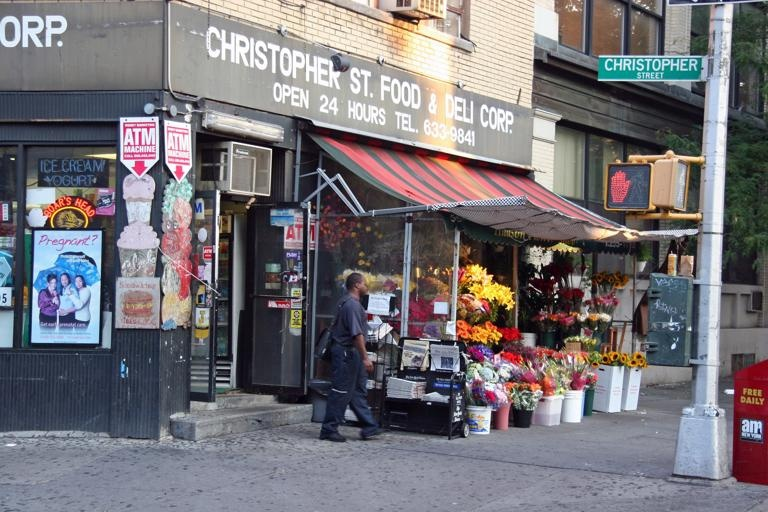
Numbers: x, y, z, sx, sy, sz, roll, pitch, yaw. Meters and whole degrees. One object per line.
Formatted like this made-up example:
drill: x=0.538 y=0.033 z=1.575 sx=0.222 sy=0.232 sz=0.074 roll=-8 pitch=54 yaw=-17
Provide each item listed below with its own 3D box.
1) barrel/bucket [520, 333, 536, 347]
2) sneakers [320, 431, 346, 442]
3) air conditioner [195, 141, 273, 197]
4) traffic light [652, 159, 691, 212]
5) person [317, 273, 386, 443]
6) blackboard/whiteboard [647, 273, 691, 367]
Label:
barrel/bucket: x=2.661 y=1.517 z=19.354 sx=0.289 sy=0.343 sz=0.302 roll=2 pitch=-3 yaw=0
sneakers: x=-0.750 y=2.612 z=15.372 sx=0.356 sy=0.176 sz=0.149 roll=-1 pitch=-2 yaw=14
air conditioner: x=-2.356 y=-1.355 z=16.550 sx=0.709 sy=0.996 sz=1.302 roll=-3 pitch=-5 yaw=40
traffic light: x=3.818 y=-0.963 z=13.989 sx=0.620 sy=0.718 sz=0.325 roll=-5 pitch=13 yaw=-25
person: x=-0.482 y=1.541 z=15.508 sx=0.860 sy=2.443 sz=0.956 roll=1 pitch=12 yaw=1
blackboard/whiteboard: x=3.775 y=0.833 z=13.934 sx=0.578 sy=1.141 sz=0.363 roll=4 pitch=12 yaw=14
